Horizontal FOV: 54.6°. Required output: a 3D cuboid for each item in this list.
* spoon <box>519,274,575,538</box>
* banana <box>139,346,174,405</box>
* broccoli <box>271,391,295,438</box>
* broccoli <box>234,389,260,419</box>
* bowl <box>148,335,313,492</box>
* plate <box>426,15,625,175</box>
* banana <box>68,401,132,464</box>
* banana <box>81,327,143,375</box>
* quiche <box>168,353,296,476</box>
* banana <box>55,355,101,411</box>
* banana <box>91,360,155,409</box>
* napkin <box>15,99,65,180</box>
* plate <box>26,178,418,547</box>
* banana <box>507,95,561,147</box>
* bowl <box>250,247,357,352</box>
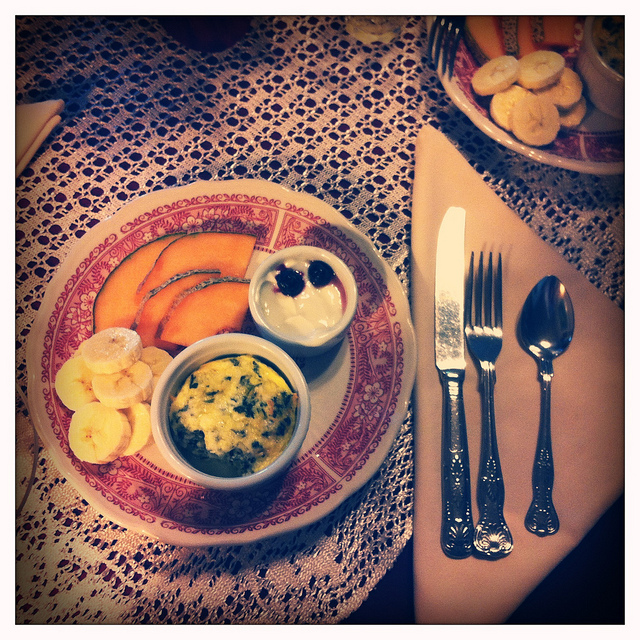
[{"bbox_3d":[0.700,0.197,1.887,0.155,0.070,0.875,5,79,6],"label":"spoon"},{"bbox_3d":[-0.523,0.179,1.963,0.139,0.039,0.148,23,69,-5],"label":"banana"},{"bbox_3d":[-0.092,0.267,1.706,0.066,0.024,0.115,4,81,-19],"label":"broccoli"},{"bbox_3d":[-0.202,0.239,1.727,0.059,0.016,0.064,3,77,-3],"label":"broccoli"},{"bbox_3d":[-0.245,0.250,1.714,0.429,0.130,0.419,0,83,-2],"label":"bowl"},{"bbox_3d":[0.639,-0.681,2.136,0.570,0.117,0.564,40,75,-1],"label":"plate"},{"bbox_3d":[-0.647,0.329,1.812,0.164,0.063,0.167,1,83,-2],"label":"banana"},{"bbox_3d":[-0.615,0.085,1.848,0.132,0.040,0.144,9,44,-7],"label":"banana"},{"bbox_3d":[-0.210,0.297,1.858,0.217,0.379,0.390,7,74,6],"label":"quiche"},{"bbox_3d":[-0.732,0.194,1.849,0.124,0.030,0.138,-2,80,-2],"label":"banana"},{"bbox_3d":[-0.582,0.199,1.852,0.170,0.054,0.128,-17,83,-4],"label":"banana"},{"bbox_3d":[-0.945,-0.615,2.093,0.146,0.061,0.281,-2,83,-2],"label":"napkin"},{"bbox_3d":[-0.266,0.124,1.958,1.024,0.182,1.127,16,74,-2],"label":"plate"},{"bbox_3d":[0.699,-0.651,2.027,0.152,0.038,0.169,5,85,-10],"label":"banana"},{"bbox_3d":[-0.048,-0.064,1.816,0.303,0.095,0.299,0,83,-2],"label":"bowl"}]
